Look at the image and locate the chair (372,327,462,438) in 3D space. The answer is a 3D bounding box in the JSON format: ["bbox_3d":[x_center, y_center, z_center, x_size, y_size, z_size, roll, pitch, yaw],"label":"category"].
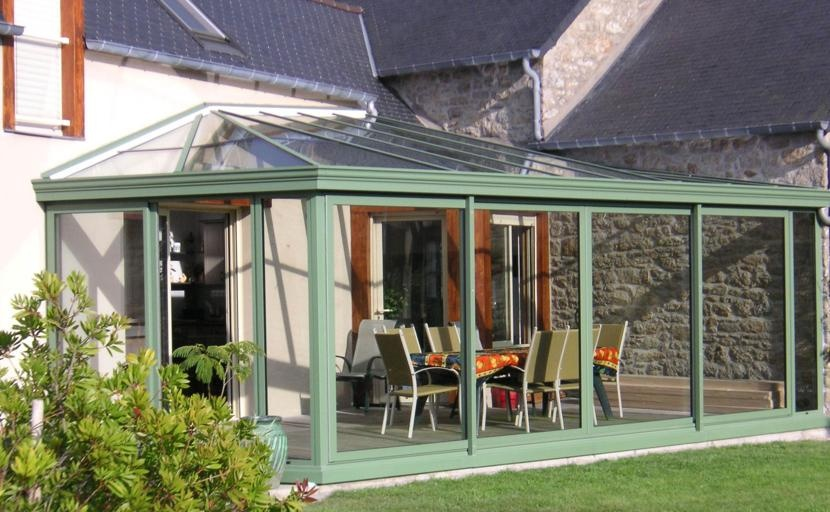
[{"bbox_3d":[0.034,1.878,16.984,1.107,1.518,0.972,0,-4,-25],"label":"chair"}]

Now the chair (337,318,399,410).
[{"bbox_3d":[-0.803,1.578,17.151,0.731,1.260,0.925,-2,-3,37],"label":"chair"}]

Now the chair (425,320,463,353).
[{"bbox_3d":[0.435,1.260,17.659,0.394,0.707,0.521,0,-1,-36],"label":"chair"}]

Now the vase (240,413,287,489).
[{"bbox_3d":[-1.787,2.634,15.497,0.687,0.876,0.658,-4,0,41],"label":"vase"}]
